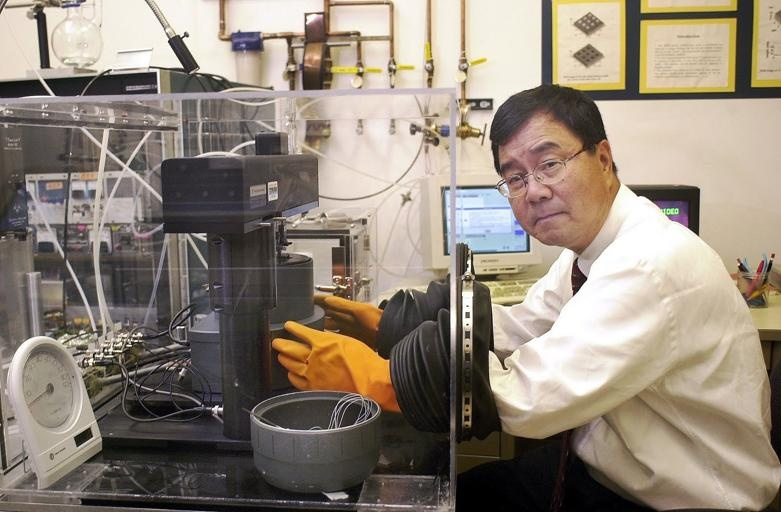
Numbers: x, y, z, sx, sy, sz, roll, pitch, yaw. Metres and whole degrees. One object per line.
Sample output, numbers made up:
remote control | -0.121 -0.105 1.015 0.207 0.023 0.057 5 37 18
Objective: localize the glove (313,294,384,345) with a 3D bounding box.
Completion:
glove | -0.165 0.167 2.011 0.131 0.179 0.416 7 -7 -9

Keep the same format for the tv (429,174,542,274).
tv | 0.505 -0.181 3.114 0.548 0.462 0.303 1 18 35

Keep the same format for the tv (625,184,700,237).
tv | 0.999 -0.167 2.420 0.243 0.208 0.129 1 11 3
